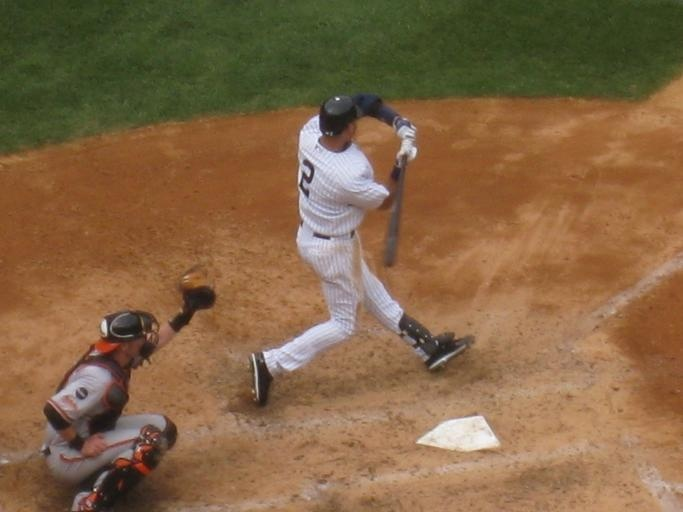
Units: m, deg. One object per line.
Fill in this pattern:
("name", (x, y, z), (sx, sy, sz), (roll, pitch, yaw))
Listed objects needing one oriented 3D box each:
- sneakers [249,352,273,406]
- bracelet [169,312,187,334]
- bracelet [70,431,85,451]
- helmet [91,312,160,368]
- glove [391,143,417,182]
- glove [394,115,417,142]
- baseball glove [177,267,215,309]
("sneakers", (-0.855, 1.285, 13.119), (0.279, 0.637, 0.206), (-5, 18, -4))
("bracelet", (-1.668, 0.679, 12.714), (0.232, 0.096, 0.136), (-44, 70, 5))
("bracelet", (-2.610, 1.835, 12.210), (0.120, 0.153, 0.155), (56, 49, -15))
("helmet", (-2.167, 0.755, 12.338), (0.609, 0.459, 0.420), (-12, 31, -25))
("glove", (0.642, -1.001, 12.819), (0.186, 0.132, 0.449), (36, 82, 2))
("glove", (0.654, -1.330, 12.909), (0.224, 0.253, 0.384), (4, 55, -2))
("baseball glove", (-1.478, 0.373, 12.700), (0.302, 0.467, 0.445), (-10, 64, 0))
